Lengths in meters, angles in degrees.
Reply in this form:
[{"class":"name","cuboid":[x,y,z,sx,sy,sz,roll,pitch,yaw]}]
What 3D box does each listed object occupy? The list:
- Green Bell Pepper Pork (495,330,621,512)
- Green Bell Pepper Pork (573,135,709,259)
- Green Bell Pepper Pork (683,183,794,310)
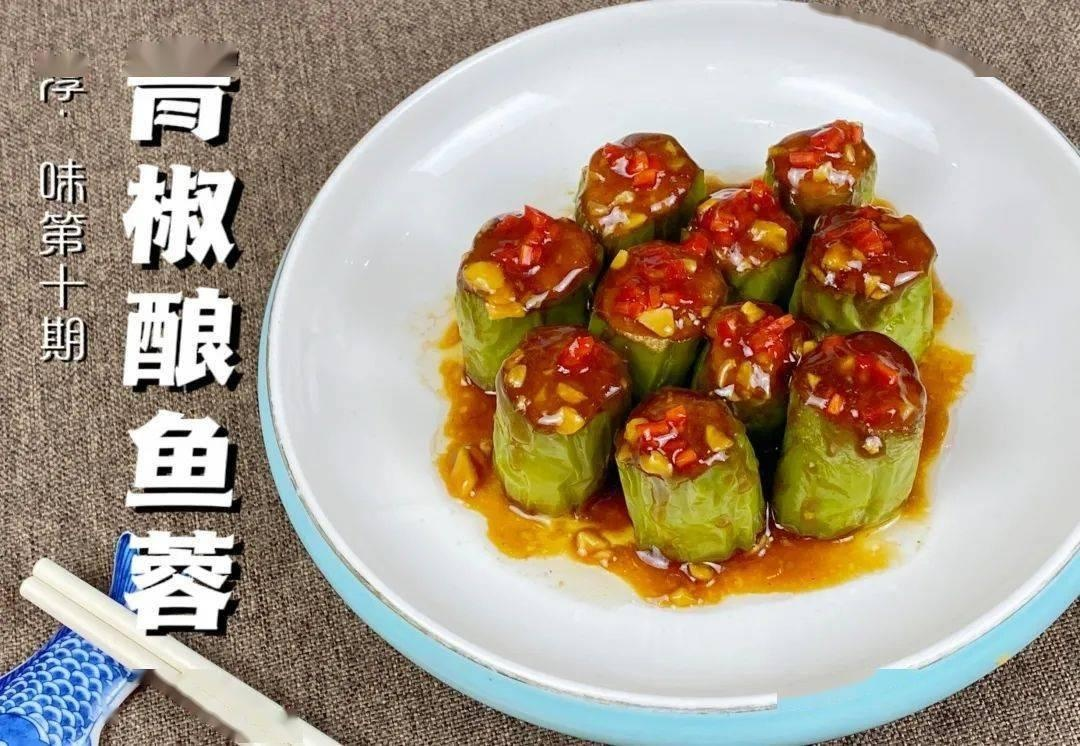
[{"class":"Green Bell Pepper Pork","cuboid":[0.065,0.137,3.466,0.294,0.413,0.288,29,51,17]},{"class":"Green Bell Pepper Pork","cuboid":[0.322,-0.611,3.773,0.456,0.159,0.368,-35,53,-28]},{"class":"Green Bell Pepper Pork","cuboid":[0.643,-0.376,3.773,0.347,0.362,0.379,-24,75,2]}]
